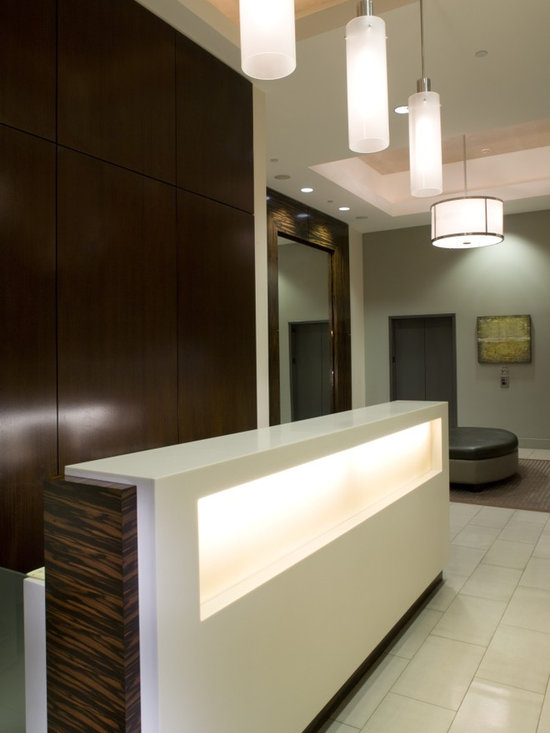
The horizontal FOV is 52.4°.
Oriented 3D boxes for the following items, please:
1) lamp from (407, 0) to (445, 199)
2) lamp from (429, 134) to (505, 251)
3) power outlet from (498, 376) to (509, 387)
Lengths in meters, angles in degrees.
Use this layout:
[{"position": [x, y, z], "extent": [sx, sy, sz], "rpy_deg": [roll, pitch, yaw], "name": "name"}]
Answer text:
[{"position": [0.549, -0.839, 2.037], "extent": [0.109, 0.414, 0.145], "rpy_deg": [0, 1, 18], "name": "lamp"}, {"position": [2.056, -1.917, 5.898], "extent": [0.637, 1.398, 1.568], "rpy_deg": [0, 1, 25], "name": "lamp"}, {"position": [3.384, 0.222, 8.226], "extent": [0.094, 0.218, 0.109], "rpy_deg": [-1, -1, 30], "name": "power outlet"}]
